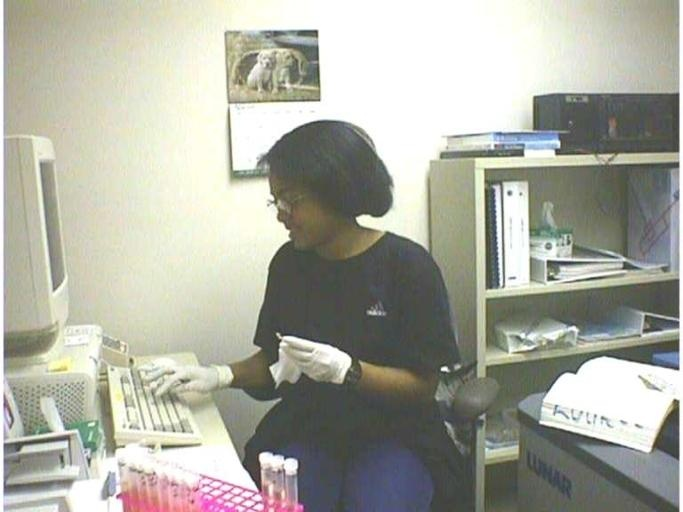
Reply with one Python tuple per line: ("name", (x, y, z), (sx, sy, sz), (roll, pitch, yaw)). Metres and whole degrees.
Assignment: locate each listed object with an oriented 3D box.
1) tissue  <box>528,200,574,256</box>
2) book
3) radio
("tissue ", (0.577, -0.076, 1.653), (0.142, 0.150, 0.038), (-7, 9, -29))
("book", (0.573, 0.101, 1.645), (0.728, 0.795, 0.247), (-5, 6, -19))
("radio", (0.739, -0.358, 1.640), (0.489, 0.163, 0.056), (-6, 9, -19))
